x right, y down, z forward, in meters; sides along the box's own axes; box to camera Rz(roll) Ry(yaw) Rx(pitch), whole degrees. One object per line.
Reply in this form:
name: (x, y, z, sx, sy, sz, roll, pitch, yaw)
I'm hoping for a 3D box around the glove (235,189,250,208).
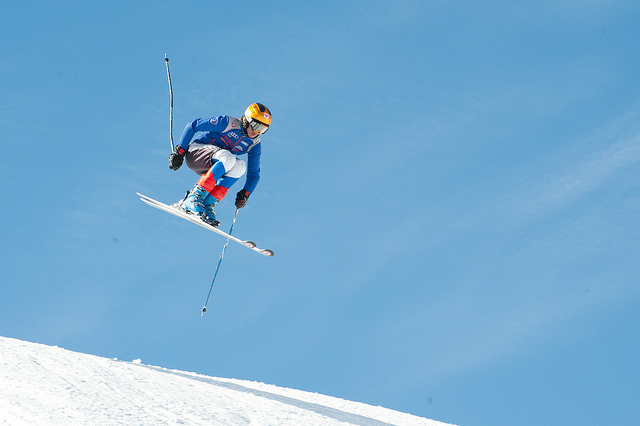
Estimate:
glove: (-1.985, -0.352, 22.572, 0.272, 0.438, 0.553, 12, 7, -4)
